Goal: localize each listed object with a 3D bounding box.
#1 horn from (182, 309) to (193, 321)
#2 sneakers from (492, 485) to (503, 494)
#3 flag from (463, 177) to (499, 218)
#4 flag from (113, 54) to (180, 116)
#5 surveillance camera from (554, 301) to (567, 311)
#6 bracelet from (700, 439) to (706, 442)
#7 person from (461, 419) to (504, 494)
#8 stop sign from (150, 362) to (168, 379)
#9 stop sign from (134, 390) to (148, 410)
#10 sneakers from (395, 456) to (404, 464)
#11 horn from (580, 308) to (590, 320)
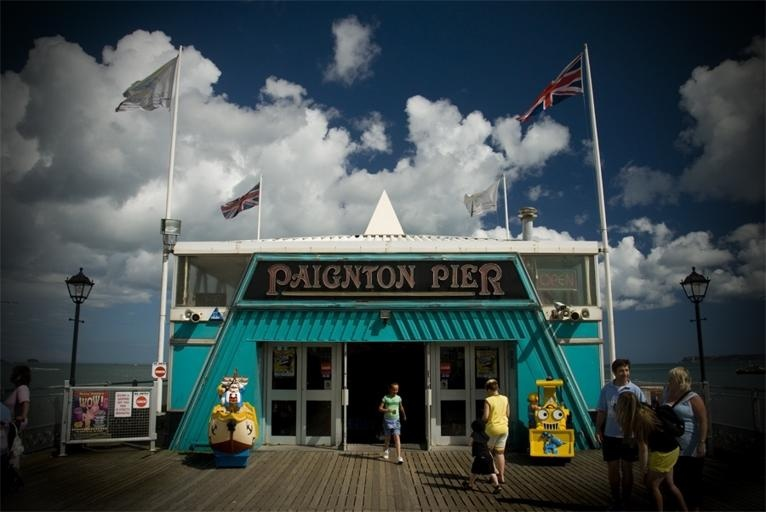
[{"bbox_3d":[-5.651,1.697,17.724,0.287,0.320,0.118,-1,8,-8],"label":"horn"},{"bbox_3d":[2.707,5.607,14.656,0.188,0.098,0.295,1,-50,3],"label":"sneakers"},{"bbox_3d":[4.040,-2.400,25.383,1.283,1.245,0.762,4,9,26],"label":"flag"},{"bbox_3d":[-7.701,-5.994,20.826,1.422,3.521,0.317,14,-40,-5],"label":"flag"},{"bbox_3d":[5.137,1.462,17.944,0.340,0.198,0.376,1,8,10],"label":"surveillance camera"},{"bbox_3d":[6.837,3.957,13.135,0.094,0.033,0.098,2,-15,10],"label":"bracelet"},{"bbox_3d":[2.370,4.758,14.873,0.896,1.788,0.758,0,8,5],"label":"person"},{"bbox_3d":[-6.623,3.408,18.107,0.426,0.480,0.312,-5,9,-30],"label":"stop sign"},{"bbox_3d":[-6.762,4.017,17.199,0.502,0.539,0.412,0,-4,-2],"label":"stop sign"},{"bbox_3d":[0.435,5.431,16.282,0.112,0.128,0.293,-1,-30,-2],"label":"sneakers"},{"bbox_3d":[5.839,1.668,17.807,0.257,0.304,0.078,-1,8,-8],"label":"horn"}]
